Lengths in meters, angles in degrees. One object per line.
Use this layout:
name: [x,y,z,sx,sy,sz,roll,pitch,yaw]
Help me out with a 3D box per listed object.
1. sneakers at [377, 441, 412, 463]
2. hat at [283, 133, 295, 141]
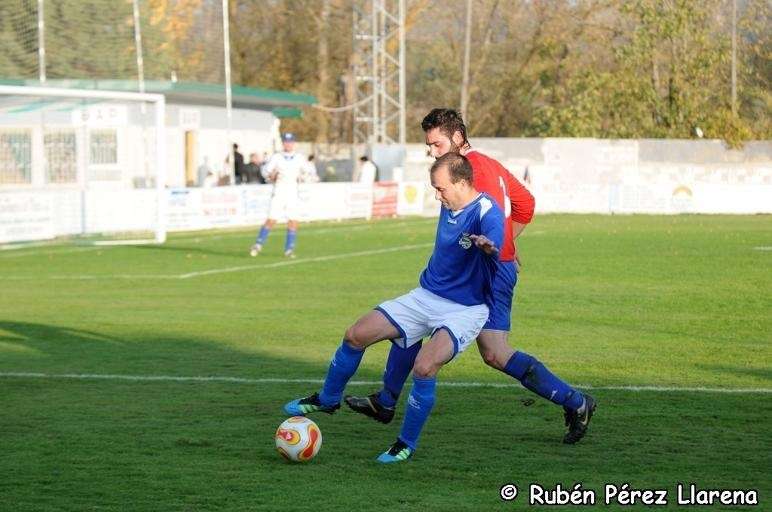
sneakers: [0.125,2.611,16.877,0.488,0.184,0.245,2,0,-29]
hat: [-2.018,-2.494,26.262,0.215,0.174,0.415,-1,7,-6]
